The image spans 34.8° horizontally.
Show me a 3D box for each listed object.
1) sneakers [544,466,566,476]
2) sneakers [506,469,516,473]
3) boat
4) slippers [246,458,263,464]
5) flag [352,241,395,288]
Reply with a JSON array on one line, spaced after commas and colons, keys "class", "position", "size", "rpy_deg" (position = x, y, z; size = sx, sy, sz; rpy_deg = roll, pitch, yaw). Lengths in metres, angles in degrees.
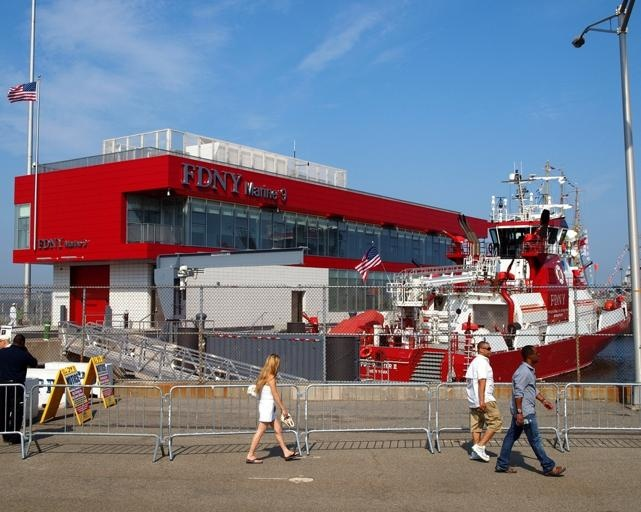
[{"class": "sneakers", "position": [4.497, 4.131, 19.696], "size": [0.429, 0.136, 0.168], "rpy_deg": [-5, -4, 21]}, {"class": "sneakers", "position": [3.682, 4.164, 19.911], "size": [0.205, 0.084, 0.068], "rpy_deg": [-1, 0, 1]}, {"class": "boat", "position": [5.966, 1.159, 36.316], "size": [4.833, 7.686, 16.419], "rpy_deg": [2, 2, 40]}, {"class": "slippers", "position": [-1.309, 4.088, 20.436], "size": [0.232, 0.074, 0.129], "rpy_deg": [-3, -4, 10]}, {"class": "flag", "position": [2.410, 0.437, 48.131], "size": [1.607, 2.089, 0.176], "rpy_deg": [-40, -41, 19]}]
